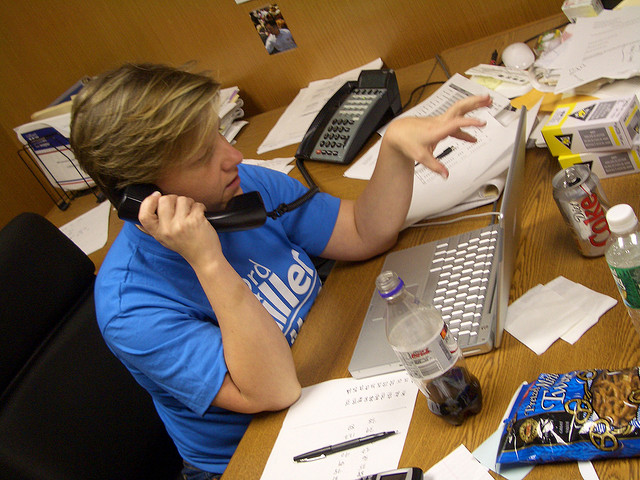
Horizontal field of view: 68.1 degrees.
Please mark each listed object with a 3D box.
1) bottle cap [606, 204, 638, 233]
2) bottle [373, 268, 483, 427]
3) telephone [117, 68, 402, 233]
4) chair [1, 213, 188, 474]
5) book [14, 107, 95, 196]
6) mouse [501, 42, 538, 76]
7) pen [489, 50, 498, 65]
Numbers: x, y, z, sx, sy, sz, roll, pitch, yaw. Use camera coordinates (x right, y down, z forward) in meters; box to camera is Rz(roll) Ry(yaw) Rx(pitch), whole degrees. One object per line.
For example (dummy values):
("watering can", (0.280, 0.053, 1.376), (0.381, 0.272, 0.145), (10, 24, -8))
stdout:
("bottle cap", (0.425, -0.028, 0.666), (0.033, 0.031, 0.030), (-40, 27, -27))
("bottle", (0.179, 0.176, 0.781), (0.099, 0.292, 0.099), (-28, 22, 12))
("telephone", (-0.102, -0.257, 1.315), (0.274, 0.329, 0.970), (-3, 36, 42))
("chair", (-0.540, 0.258, 1.114), (0.331, 0.488, 0.366), (-32, -14, -21))
("book", (-1.012, -0.339, 1.786), (0.220, 0.386, 0.125), (1, 39, 31))
("mouse", (0.576, -0.519, 1.361), (0.091, 0.069, 0.119), (-15, 28, 27))
("pen", (0.542, -0.566, 1.482), (0.021, 0.023, 0.067), (-10, 31, 32))
